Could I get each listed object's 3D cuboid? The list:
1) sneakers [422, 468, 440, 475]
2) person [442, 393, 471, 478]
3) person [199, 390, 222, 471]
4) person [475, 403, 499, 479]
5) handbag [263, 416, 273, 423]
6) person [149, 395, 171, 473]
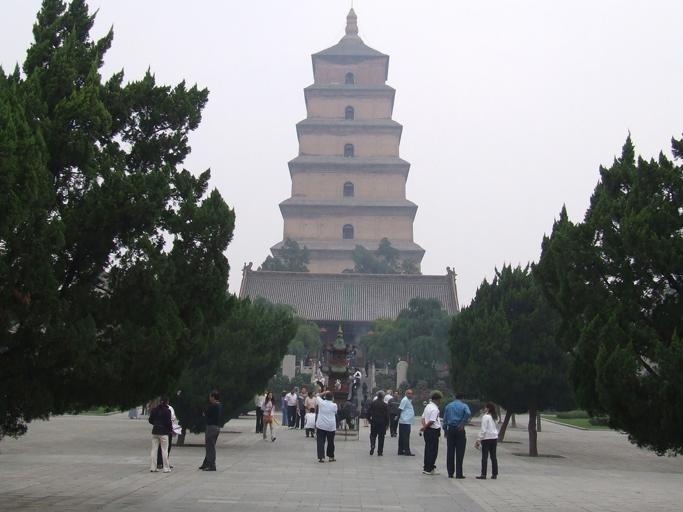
[{"bbox_3d":[1.897,4.571,15.046,0.339,0.180,0.133,0,2,-13],"label":"sneakers"},{"bbox_3d":[2.467,3.817,15.241,0.507,1.663,1.601,0,-11,9],"label":"person"},{"bbox_3d":[-2.726,3.644,14.974,0.371,1.606,1.842,3,-12,-10],"label":"person"},{"bbox_3d":[3.080,3.884,15.092,0.415,1.515,2.012,0,-12,11],"label":"person"},{"bbox_3d":[-2.268,5.151,22.255,0.298,0.326,0.171,0,-15,0],"label":"handbag"},{"bbox_3d":[-3.658,3.652,14.596,0.462,1.449,0.981,4,-11,-13],"label":"person"}]
